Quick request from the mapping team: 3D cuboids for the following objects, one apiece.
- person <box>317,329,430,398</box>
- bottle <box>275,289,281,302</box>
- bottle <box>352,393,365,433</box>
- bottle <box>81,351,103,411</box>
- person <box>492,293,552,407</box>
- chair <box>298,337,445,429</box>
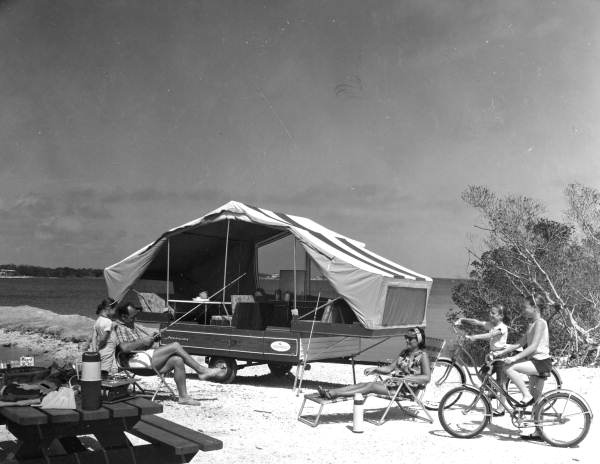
[{"bbox_3d":[0.943,1.600,6.957,1.454,0.926,0.701,6,-3,-25],"label":"person"},{"bbox_3d":[-0.462,1.310,11.803,0.066,0.255,0.227,6,-10,-23],"label":"bottle"},{"bbox_3d":[0.695,2.121,6.665,0.134,0.455,0.277,1,-9,5],"label":"bottle"},{"bbox_3d":[-1.533,1.079,4.111,0.152,0.412,0.258,5,-9,-19],"label":"bottle"},{"bbox_3d":[2.642,1.319,6.385,0.622,1.247,0.349,9,-11,-35],"label":"person"},{"bbox_3d":[0.986,1.917,7.382,1.965,1.316,0.994,8,-12,-25],"label":"chair"}]
